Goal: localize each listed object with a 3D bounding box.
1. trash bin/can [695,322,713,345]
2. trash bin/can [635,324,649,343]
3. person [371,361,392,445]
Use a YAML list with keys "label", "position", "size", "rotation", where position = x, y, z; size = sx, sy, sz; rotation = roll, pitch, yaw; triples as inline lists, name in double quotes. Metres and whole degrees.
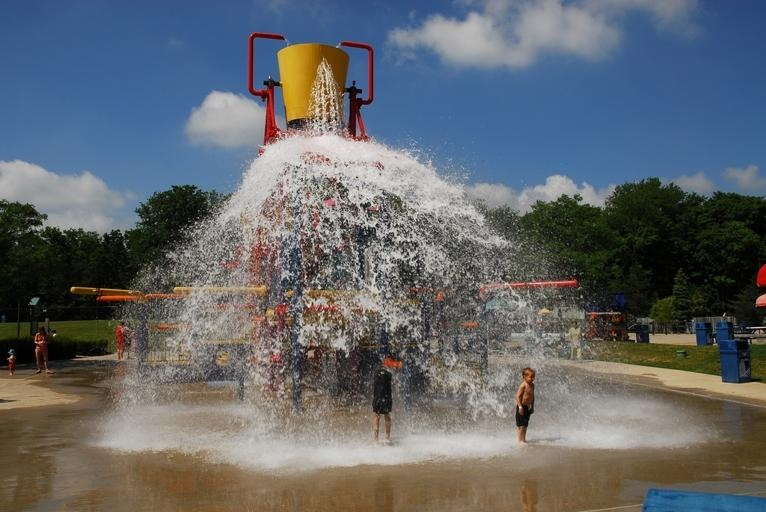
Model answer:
- label: "trash bin/can"
  position: [15.871, 3.853, 36.738]
  size: [0.630, 1.235, 1.416]
  rotation: [1, -4, 33]
- label: "trash bin/can"
  position: [14.810, 4.419, 42.409]
  size: [0.673, 1.025, 1.207]
  rotation: [2, 8, 19]
- label: "person"
  position: [0.005, 3.928, 20.126]
  size: [0.524, 1.843, 1.358]
  rotation: [0, 7, -1]
